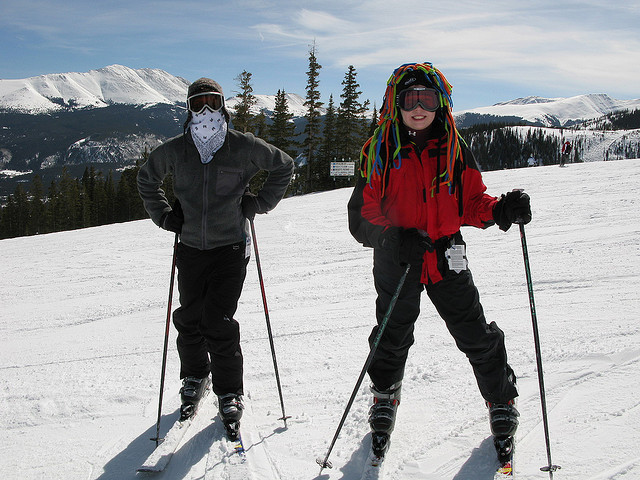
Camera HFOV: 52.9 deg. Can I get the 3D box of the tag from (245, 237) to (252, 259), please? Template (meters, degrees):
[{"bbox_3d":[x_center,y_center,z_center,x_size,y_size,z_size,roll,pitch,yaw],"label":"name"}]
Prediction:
[{"bbox_3d":[-0.819,0.083,7.273,0.058,0.229,0.138,-6,11,14],"label":"tag"}]

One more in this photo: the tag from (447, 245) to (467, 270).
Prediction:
[{"bbox_3d":[1.358,0.172,6.344,0.162,0.229,0.067,0,-10,3],"label":"tag"}]

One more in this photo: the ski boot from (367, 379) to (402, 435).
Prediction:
[{"bbox_3d":[0.694,1.682,6.639,0.188,0.349,0.630,0,25,17],"label":"ski boot"}]

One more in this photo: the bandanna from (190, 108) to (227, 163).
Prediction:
[{"bbox_3d":[-1.220,-1.168,7.132,0.371,0.581,0.161,-12,11,-19],"label":"bandanna"}]
